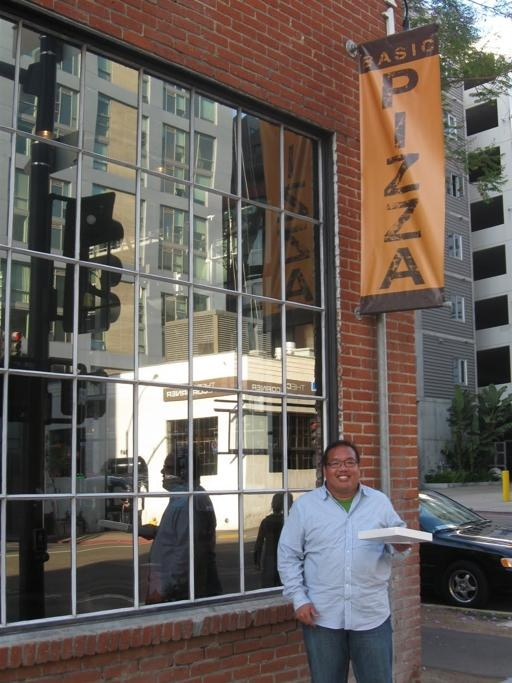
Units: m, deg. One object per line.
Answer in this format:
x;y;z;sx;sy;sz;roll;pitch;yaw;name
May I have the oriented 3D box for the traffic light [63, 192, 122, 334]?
-0.795;-0.391;3.441;0.045;0.728;0.359;-7;-8;35;traffic light
